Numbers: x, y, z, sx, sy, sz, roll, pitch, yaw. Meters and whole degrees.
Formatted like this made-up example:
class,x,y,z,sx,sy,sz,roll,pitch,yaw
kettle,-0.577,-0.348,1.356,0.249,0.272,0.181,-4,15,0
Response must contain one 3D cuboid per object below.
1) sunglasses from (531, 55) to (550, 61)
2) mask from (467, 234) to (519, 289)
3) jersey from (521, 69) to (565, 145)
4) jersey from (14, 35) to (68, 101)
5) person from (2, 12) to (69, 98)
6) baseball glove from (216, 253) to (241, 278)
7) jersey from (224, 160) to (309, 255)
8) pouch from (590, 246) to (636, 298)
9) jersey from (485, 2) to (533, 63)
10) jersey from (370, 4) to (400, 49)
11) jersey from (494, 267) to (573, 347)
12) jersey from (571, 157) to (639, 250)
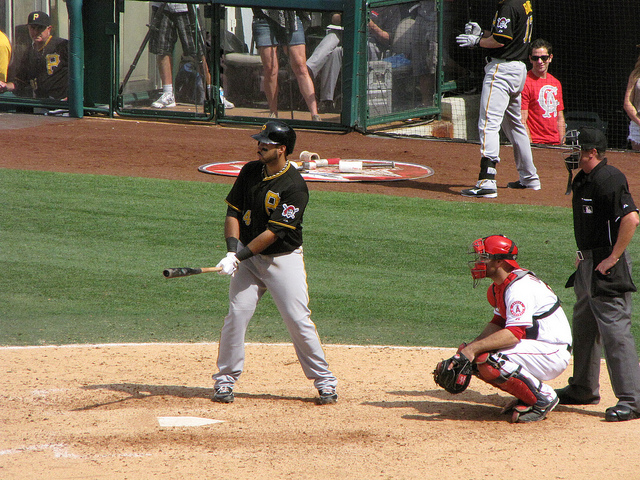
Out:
class,x,y,z,sx,sy,sz,roll,pitch,yaw
sunglasses,3.000,-2.467,16.809,0.232,0.078,0.105,4,6,20
mask,1.574,0.215,11.298,0.494,0.436,0.383,-3,1,0
jersey,3.115,-1.838,17.300,0.559,1.023,0.686,3,7,10
jersey,-4.279,-2.687,19.072,0.870,0.762,0.468,11,35,15
person,-4.349,-2.884,18.973,1.029,1.193,0.725,15,31,27
baseball glove,-0.800,0.236,11.202,0.177,0.205,0.093,28,-17,37
jersey,-0.439,-0.360,11.453,0.552,0.792,0.906,-18,32,-39
pouch,2.614,0.296,11.099,0.502,0.453,0.299,-7,-9,4
jersey,2.357,-2.567,15.189,0.536,0.719,0.426,2,6,0
jersey,1.000,-3.219,18.659,0.173,0.582,0.701,5,4,38
jersey,1.982,0.605,11.439,0.740,0.782,0.715,-3,-1,5
jersey,2.559,-0.307,11.176,0.254,0.823,0.640,-4,9,-44
